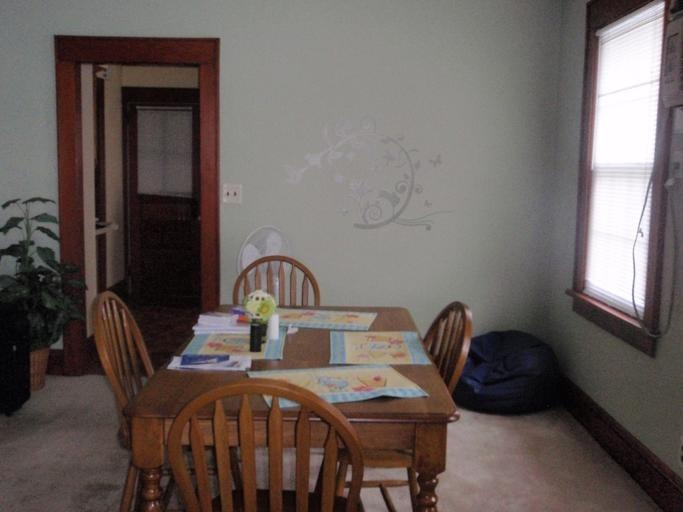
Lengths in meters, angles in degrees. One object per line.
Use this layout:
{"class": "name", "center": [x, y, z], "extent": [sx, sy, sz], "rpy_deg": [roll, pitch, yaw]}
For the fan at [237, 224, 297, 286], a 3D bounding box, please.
{"class": "fan", "center": [-0.516, -0.020, 3.556], "extent": [0.323, 0.334, 0.075], "rpy_deg": [25, -18, -39]}
